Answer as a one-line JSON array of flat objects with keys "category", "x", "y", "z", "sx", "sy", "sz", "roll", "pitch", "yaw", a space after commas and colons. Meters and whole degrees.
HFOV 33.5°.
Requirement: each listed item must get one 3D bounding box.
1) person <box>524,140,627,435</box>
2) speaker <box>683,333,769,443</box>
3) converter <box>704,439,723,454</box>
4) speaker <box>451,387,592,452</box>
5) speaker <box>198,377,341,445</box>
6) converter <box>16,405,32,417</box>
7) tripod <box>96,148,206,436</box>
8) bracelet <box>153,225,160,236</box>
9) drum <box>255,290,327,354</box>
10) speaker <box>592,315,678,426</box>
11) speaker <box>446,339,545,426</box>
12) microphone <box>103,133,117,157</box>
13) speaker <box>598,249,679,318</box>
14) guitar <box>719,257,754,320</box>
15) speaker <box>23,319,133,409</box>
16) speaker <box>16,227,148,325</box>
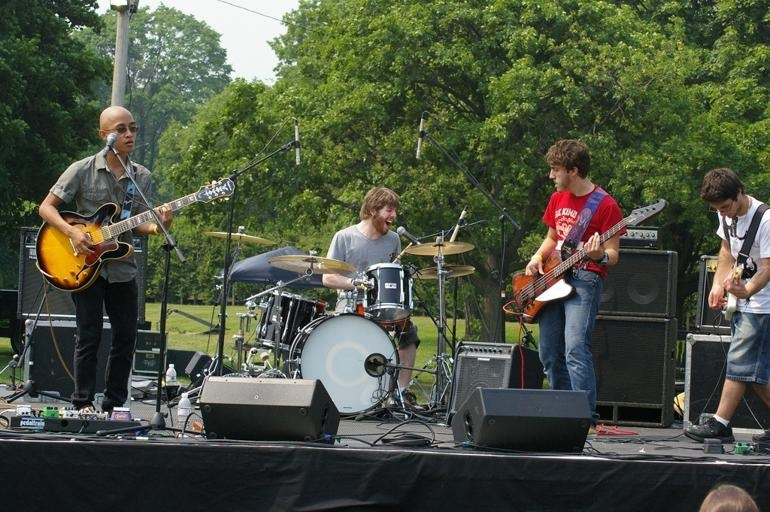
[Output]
[{"category": "person", "x": 2.485, "y": 0.282, "z": 16.660, "sx": 1.233, "sy": 3.611, "sz": 0.684, "roll": 0, "pitch": -6, "yaw": 19}, {"category": "speaker", "x": 4.502, "y": 1.672, "z": 17.499, "sx": 1.488, "sy": 1.210, "sz": 0.371, "roll": 4, "pitch": 1, "yaw": 16}, {"category": "converter", "x": 4.139, "y": 2.331, "z": 16.060, "sx": 0.210, "sy": 0.124, "sz": 0.189, "roll": 0, "pitch": -4, "yaw": 3}, {"category": "speaker", "x": 1.671, "y": 1.923, "z": 15.464, "sx": 1.610, "sy": 0.732, "sz": 0.331, "roll": 1, "pitch": -6, "yaw": 0}, {"category": "speaker", "x": -1.442, "y": 1.616, "z": 15.774, "sx": 1.499, "sy": 0.698, "sz": 0.870, "roll": 1, "pitch": -3, "yaw": 5}, {"category": "converter", "x": -4.479, "y": 1.856, "z": 15.805, "sx": 0.192, "sy": 0.106, "sz": 0.325, "roll": 3, "pitch": -6, "yaw": -15}, {"category": "tripod", "x": -2.968, "y": 0.442, "z": 16.761, "sx": 0.951, "sy": 3.433, "sz": 1.796, "roll": 1, "pitch": -6, "yaw": 4}, {"category": "bracelet", "x": -2.908, "y": -0.364, "z": 16.283, "sx": 0.103, "sy": 0.077, "sz": 0.091, "roll": -2, "pitch": -13, "yaw": 6}, {"category": "drum", "x": -1.470, "y": 0.932, "z": 19.095, "sx": 0.982, "sy": 0.618, "sz": 0.972, "roll": 10, "pitch": -10, "yaw": 2}, {"category": "speaker", "x": 3.422, "y": 1.474, "z": 17.553, "sx": 1.871, "sy": 1.576, "sz": 0.685, "roll": 0, "pitch": -3, "yaw": 10}, {"category": "speaker", "x": 1.500, "y": 1.637, "z": 17.797, "sx": 1.457, "sy": 1.473, "sz": 0.941, "roll": 5, "pitch": -5, "yaw": -10}, {"category": "microphone", "x": -3.497, "y": -1.437, "z": 16.175, "sx": 0.095, "sy": 0.305, "sz": 0.090, "roll": 0, "pitch": -45, "yaw": 15}, {"category": "speaker", "x": 3.480, "y": 0.336, "z": 17.513, "sx": 1.120, "sy": 0.766, "sz": 0.390, "roll": 1, "pitch": -5, "yaw": 11}, {"category": "guitar", "x": 4.580, "y": 0.388, "z": 16.539, "sx": 0.188, "sy": 0.949, "sz": 0.394, "roll": 17, "pitch": 37, "yaw": 7}, {"category": "speaker", "x": -4.517, "y": 1.351, "z": 18.071, "sx": 2.048, "sy": 1.573, "sz": 1.131, "roll": 1, "pitch": -8, "yaw": -9}, {"category": "speaker", "x": -4.052, "y": 0.233, "z": 16.803, "sx": 1.637, "sy": 1.232, "sz": 0.624, "roll": 1, "pitch": -7, "yaw": -19}]
